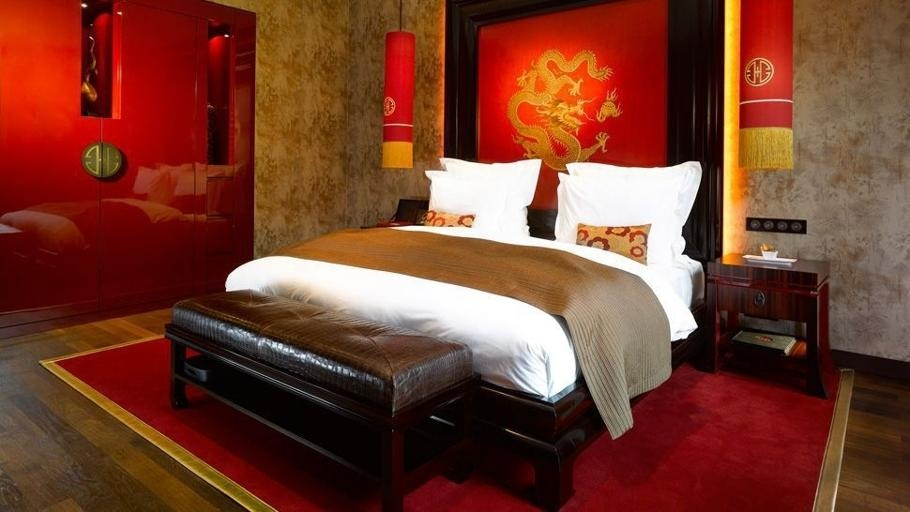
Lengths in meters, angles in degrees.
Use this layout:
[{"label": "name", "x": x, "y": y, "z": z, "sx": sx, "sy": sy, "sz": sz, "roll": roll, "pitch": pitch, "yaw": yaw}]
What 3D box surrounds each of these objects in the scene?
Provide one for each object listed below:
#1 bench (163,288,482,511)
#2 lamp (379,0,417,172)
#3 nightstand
[{"label": "bench", "x": -0.893, "y": 0.864, "z": 3.585, "sx": 1.994, "sy": 1.046, "sz": 0.557, "roll": 5, "pitch": 11, "yaw": 24}, {"label": "lamp", "x": -0.607, "y": -1.681, "z": 5.909, "sx": 0.341, "sy": 1.409, "sz": 0.336, "roll": 0, "pitch": 10, "yaw": -6}, {"label": "nightstand", "x": 2.655, "y": 0.536, "z": 4.617, "sx": 0.928, "sy": 0.900, "sz": 0.730, "roll": 4, "pitch": 3, "yaw": 42}]
